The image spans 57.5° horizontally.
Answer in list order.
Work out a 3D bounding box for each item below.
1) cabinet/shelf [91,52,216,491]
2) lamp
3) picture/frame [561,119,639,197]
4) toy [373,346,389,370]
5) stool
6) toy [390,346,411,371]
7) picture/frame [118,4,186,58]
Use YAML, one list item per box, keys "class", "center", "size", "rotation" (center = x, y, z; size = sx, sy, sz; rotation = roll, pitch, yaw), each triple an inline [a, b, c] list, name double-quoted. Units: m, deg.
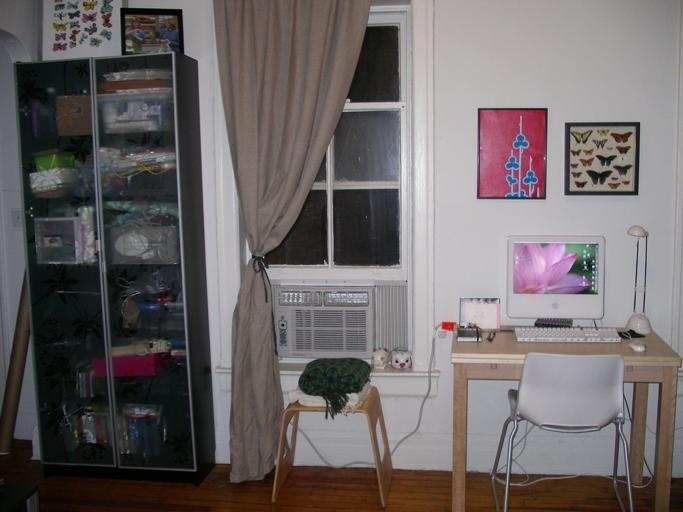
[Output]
- class: "cabinet/shelf"
  center: [-1.218, 0.094, 4.520]
  size: [1.048, 2.825, 0.645]
  rotation: [0, 3, 5]
- class: "lamp"
  center: [1.897, 0.212, 4.003]
  size: [0.173, 0.827, 0.166]
  rotation: [3, 9, 19]
- class: "picture/frame"
  center: [1.695, -0.632, 4.030]
  size: [0.457, 0.466, 0.031]
  rotation: [-1, 7, 6]
- class: "toy"
  center: [0.269, 0.693, 4.234]
  size: [0.121, 0.134, 0.093]
  rotation: [-1, 7, 2]
- class: "stool"
  center: [-0.063, 1.185, 4.056]
  size: [0.758, 0.705, 0.506]
  rotation: [-1, 7, 8]
- class: "toy"
  center: [0.408, 0.692, 4.253]
  size: [0.126, 0.130, 0.131]
  rotation: [1, -7, -4]
- class: "picture/frame"
  center: [-1.244, -1.478, 4.099]
  size: [0.410, 0.373, 0.030]
  rotation: [-1, 5, 0]
